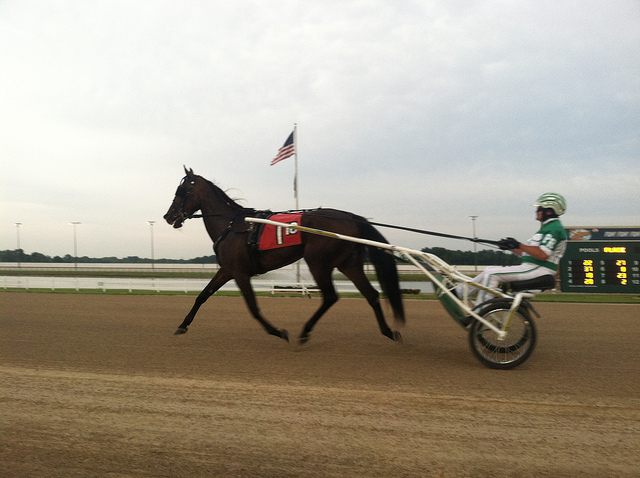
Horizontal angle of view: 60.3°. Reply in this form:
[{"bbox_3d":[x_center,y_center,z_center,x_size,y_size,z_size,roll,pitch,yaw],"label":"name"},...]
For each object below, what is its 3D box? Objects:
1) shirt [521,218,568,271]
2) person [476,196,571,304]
[{"bbox_3d":[2.364,0.095,5.825,0.542,0.494,0.752,13,1,15],"label":"shirt"},{"bbox_3d":[2.202,0.116,5.957,0.979,1.124,0.377,-6,18,-21],"label":"person"}]
